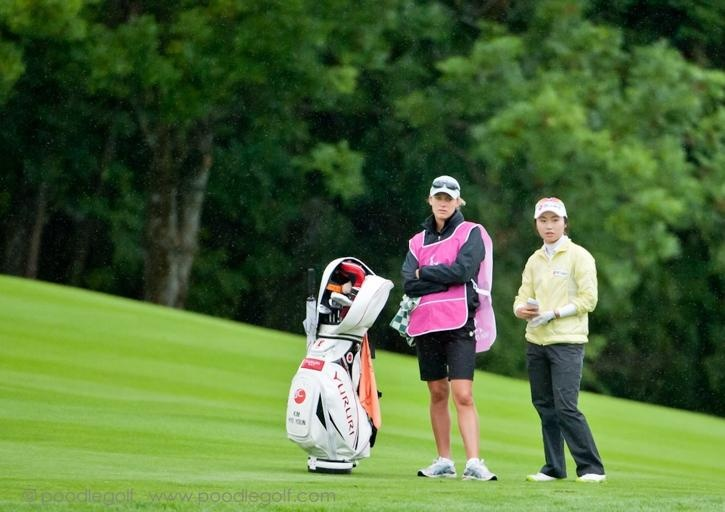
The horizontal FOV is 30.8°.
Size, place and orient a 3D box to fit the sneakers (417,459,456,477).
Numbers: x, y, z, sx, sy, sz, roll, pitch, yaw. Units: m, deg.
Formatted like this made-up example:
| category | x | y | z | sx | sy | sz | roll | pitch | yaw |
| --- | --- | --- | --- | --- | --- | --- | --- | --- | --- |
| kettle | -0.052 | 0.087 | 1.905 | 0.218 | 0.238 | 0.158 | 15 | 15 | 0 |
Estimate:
| category | x | y | z | sx | sy | sz | roll | pitch | yaw |
| --- | --- | --- | --- | --- | --- | --- | --- | --- | --- |
| sneakers | 1.063 | 3.071 | 18.873 | 0.521 | 0.306 | 0.246 | 1 | -9 | -2 |

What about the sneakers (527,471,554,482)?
| category | x | y | z | sx | sy | sz | roll | pitch | yaw |
| --- | --- | --- | --- | --- | --- | --- | --- | --- | --- |
| sneakers | 2.539 | 3.194 | 18.843 | 0.365 | 0.162 | 0.148 | 4 | -7 | 11 |
